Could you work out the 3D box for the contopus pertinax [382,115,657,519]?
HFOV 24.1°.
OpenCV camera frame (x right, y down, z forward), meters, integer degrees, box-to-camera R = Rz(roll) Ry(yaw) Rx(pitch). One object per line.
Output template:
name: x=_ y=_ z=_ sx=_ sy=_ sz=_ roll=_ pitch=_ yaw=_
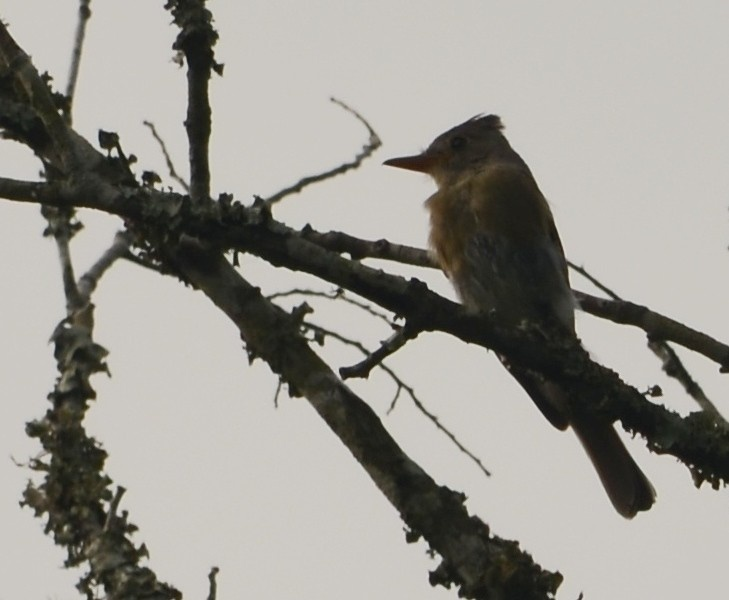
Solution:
contopus pertinax: x=0.458 y=0.099 z=5.232 sx=0.303 sy=1.076 sz=0.566 roll=-29 pitch=-19 yaw=-23
